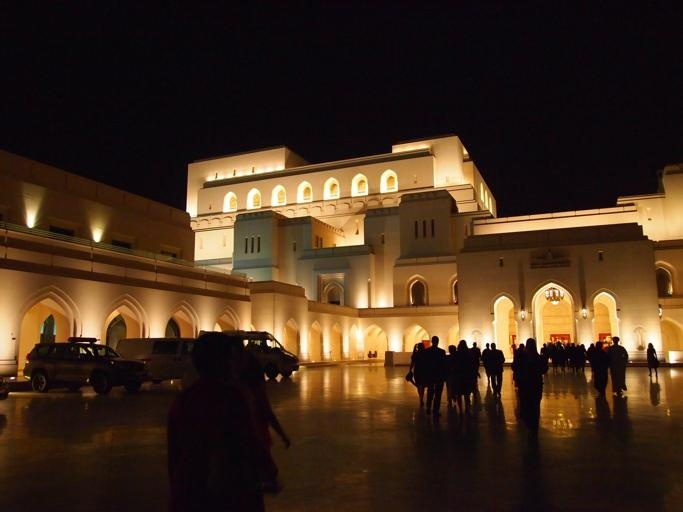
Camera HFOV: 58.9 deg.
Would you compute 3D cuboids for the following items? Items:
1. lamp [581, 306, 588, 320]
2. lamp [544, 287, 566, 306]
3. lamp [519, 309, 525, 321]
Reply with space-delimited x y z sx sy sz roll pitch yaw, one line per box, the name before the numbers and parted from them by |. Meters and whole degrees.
lamp | 14.409 3.401 35.796 0.204 0.778 0.270 3 0 16
lamp | 13.174 2.499 37.472 0.962 0.987 1.004 -6 -12 32
lamp | 11.049 3.562 36.637 0.424 0.659 0.194 -1 -11 6
